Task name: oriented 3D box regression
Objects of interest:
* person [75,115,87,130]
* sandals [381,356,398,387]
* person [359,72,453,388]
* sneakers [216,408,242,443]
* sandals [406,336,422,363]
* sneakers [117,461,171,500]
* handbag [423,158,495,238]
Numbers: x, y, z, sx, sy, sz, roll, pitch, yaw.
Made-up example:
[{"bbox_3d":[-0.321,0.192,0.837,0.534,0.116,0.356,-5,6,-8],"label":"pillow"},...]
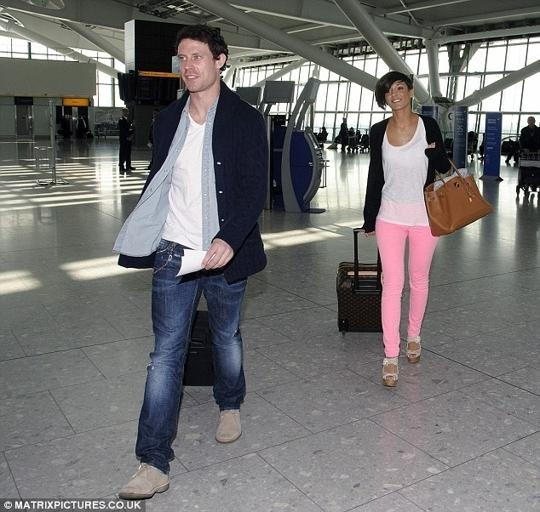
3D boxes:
[{"bbox_3d":[-18.269,-12.970,40.546,0.790,1.436,0.504,-2,6,-24],"label":"person"},{"bbox_3d":[0.760,0.734,2.648,0.087,0.160,0.102,2,6,10],"label":"sandals"},{"bbox_3d":[0.885,-0.183,2.749,0.521,1.966,0.546,3,6,20],"label":"person"},{"bbox_3d":[-0.203,0.821,2.014,0.076,0.061,0.184,-1,3,-1],"label":"sneakers"},{"bbox_3d":[1.023,0.675,2.993,0.080,0.078,0.216,-1,13,11],"label":"sandals"},{"bbox_3d":[-0.467,0.834,1.570,0.086,0.083,0.189,-4,-11,24],"label":"sneakers"},{"bbox_3d":[1.213,-0.355,2.651,0.480,0.476,0.289,-4,8,-41],"label":"handbag"}]
